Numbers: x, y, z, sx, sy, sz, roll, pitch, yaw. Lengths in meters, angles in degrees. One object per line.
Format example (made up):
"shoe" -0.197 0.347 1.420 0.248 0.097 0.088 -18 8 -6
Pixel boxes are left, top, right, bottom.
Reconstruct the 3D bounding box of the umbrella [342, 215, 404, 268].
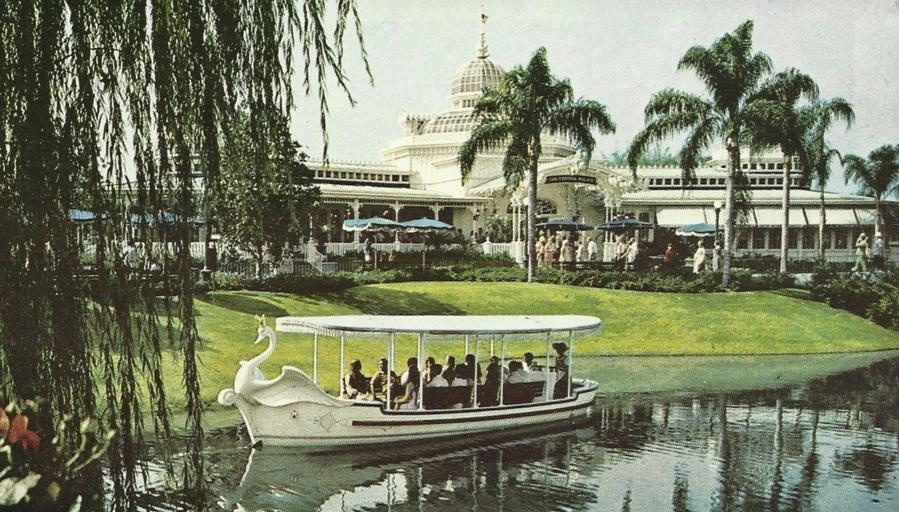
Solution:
"umbrella" -4.540 -1.280 63.011 2.309 3.849 3.473 1 1 18

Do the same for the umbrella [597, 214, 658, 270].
"umbrella" 9.734 -1.055 64.461 2.293 2.536 2.422 2 4 31

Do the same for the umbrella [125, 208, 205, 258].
"umbrella" -6.775 -0.526 26.705 1.232 0.483 1.126 3 0 28

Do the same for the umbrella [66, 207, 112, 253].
"umbrella" -8.430 -0.580 26.808 0.924 1.007 0.352 5 3 32
